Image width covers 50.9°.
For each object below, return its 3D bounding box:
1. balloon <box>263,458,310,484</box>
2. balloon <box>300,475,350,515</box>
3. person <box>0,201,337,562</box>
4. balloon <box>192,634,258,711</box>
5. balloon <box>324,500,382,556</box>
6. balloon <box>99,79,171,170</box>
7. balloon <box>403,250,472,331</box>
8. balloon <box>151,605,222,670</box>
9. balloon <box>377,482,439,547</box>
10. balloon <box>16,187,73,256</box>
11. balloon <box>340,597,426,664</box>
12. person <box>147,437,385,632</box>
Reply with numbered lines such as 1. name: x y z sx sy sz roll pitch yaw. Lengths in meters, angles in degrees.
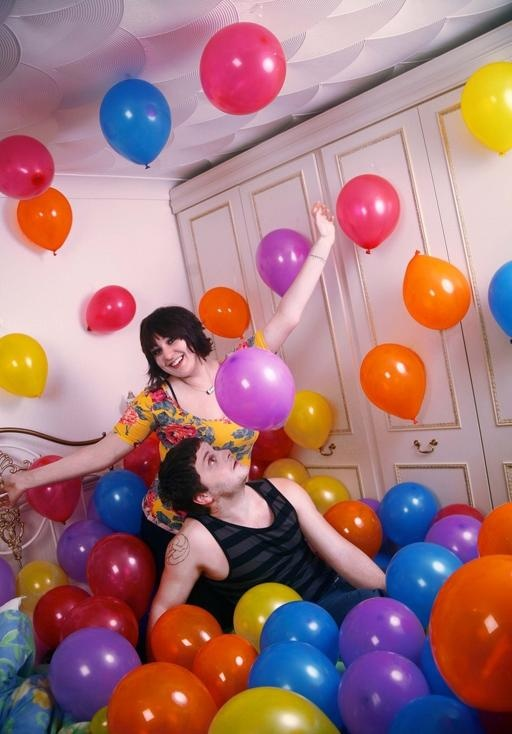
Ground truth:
1. balloon: 0.162 0.549 2.807 0.167 0.156 0.184 -12 -31 0
2. balloon: 0.317 0.585 2.581 0.171 0.164 0.193 -26 -8 -13
3. person: -0.437 0.070 2.477 1.488 1.666 0.392 -30 33 -21
4. balloon: -0.051 0.676 1.204 0.133 0.148 0.127 6 36 2
5. balloon: 0.383 0.622 2.170 0.189 0.199 0.180 1 -4 -16
6. balloon: -0.461 -0.933 2.027 0.261 0.305 0.254 -27 31 -6
7. balloon: 0.710 -0.312 2.177 0.175 0.236 0.217 -21 7 -34
8. balloon: -0.195 0.678 1.413 0.164 0.150 0.181 -11 12 -16
9. balloon: 0.682 0.662 2.407 0.265 0.283 0.258 -4 0 18
10. balloon: -1.067 -0.725 2.761 0.277 0.325 0.212 -2 6 14
11. balloon: 0.258 0.563 1.180 0.154 0.145 0.168 10 -37 1
12. person: -0.103 0.476 1.791 0.790 0.497 0.472 9 42 42
